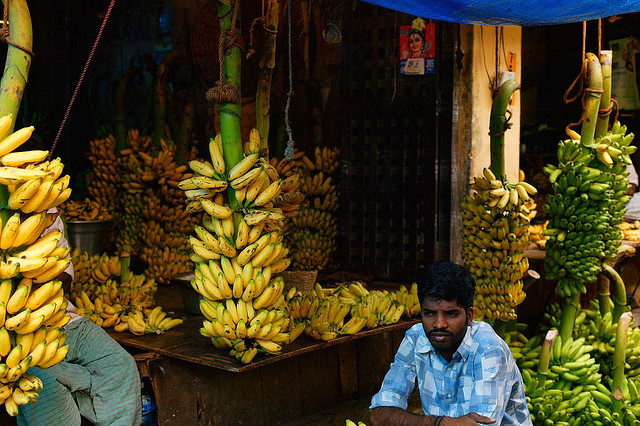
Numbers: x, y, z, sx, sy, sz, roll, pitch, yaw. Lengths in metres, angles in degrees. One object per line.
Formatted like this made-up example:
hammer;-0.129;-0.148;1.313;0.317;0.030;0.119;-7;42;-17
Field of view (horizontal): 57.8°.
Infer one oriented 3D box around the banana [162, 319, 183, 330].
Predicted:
banana;-1.338;1.012;5.282;0.050;0.076;0.212;22;19;39

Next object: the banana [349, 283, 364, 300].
banana;0.371;0.801;5.947;0.064;0.057;0.183;-12;51;-29

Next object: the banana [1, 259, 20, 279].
banana;-1.957;0.364;3.655;0.112;0.120;0.093;-2;5;-25

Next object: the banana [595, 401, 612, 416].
banana;2.591;1.770;5.301;0.042;0.158;0.059;-38;-24;-14

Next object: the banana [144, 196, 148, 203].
banana;-2.203;-0.172;7.310;0.042;0.058;0.025;6;3;36

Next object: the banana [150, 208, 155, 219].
banana;-2.109;0.012;7.279;0.047;0.104;0.032;1;2;3

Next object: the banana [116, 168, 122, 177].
banana;-2.656;-0.529;7.646;0.034;0.058;0.103;3;39;-39

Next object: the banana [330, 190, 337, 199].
banana;0.175;-0.225;7.562;0.032;0.209;0.055;11;-16;9

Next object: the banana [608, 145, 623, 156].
banana;2.538;-0.521;5.000;0.170;0.052;0.059;10;-10;-10

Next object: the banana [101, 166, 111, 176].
banana;-2.876;-0.572;7.780;0.061;0.049;0.220;-9;44;-43

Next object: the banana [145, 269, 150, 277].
banana;-2.125;0.739;7.122;0.031;0.113;0.033;-30;-4;11

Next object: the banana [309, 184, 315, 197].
banana;-0.102;-0.275;7.553;0.048;0.177;0.043;2;14;-20

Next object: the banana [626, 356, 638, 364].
banana;3.028;1.421;5.625;0.033;0.061;0.105;-24;3;-14

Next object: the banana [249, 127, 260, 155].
banana;-0.557;-0.602;4.906;0.085;0.224;0.372;0;5;-6

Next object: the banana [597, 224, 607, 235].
banana;2.451;0.146;5.027;0.110;0.086;0.036;-2;5;-28

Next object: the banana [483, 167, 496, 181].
banana;1.514;-0.328;5.199;0.069;0.138;0.045;-49;9;-26

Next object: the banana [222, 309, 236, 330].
banana;-0.728;0.837;4.568;0.052;0.207;0.066;-21;3;-3

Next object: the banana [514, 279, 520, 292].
banana;1.805;0.670;5.301;0.077;0.110;0.021;-3;6;-40

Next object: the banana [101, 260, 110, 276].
banana;-2.271;0.598;6.130;0.040;0.193;0.070;-4;-10;-10

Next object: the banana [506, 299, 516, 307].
banana;1.755;0.826;5.290;0.047;0.040;0.051;6;16;29

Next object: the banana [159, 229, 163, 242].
banana;-1.996;0.284;7.258;0.042;0.139;0.022;0;5;-2

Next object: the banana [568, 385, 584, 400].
banana;2.355;1.629;5.333;0.075;0.055;0.227;-25;4;46

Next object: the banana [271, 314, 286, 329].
banana;-0.334;0.894;4.754;0.168;0.039;0.057;-43;27;-27

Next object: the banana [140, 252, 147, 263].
banana;-2.213;0.563;7.249;0.057;0.053;0.185;-27;38;-14

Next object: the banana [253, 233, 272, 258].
banana;-0.453;0.240;4.664;0.066;0.236;0.075;42;-3;-14

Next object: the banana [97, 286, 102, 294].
banana;-2.144;0.749;5.623;0.058;0.066;0.019;-2;-7;22

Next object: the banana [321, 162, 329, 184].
banana;0.075;-0.515;7.648;0.089;0.298;0.058;12;-1;21

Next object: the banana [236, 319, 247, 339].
banana;-0.614;0.907;4.544;0.065;0.145;0.061;-4;12;-19

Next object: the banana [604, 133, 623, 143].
banana;2.616;-0.660;5.143;0.188;0.071;0.056;-1;5;-24

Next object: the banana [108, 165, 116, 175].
banana;-2.761;-0.558;7.711;0.062;0.132;0.043;-32;-9;-1

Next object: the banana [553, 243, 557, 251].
banana;2.118;0.309;5.222;0.016;0.071;0.046;-3;2;-42

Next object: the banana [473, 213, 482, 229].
banana;1.438;0.077;5.325;0.047;0.152;0.039;-8;7;6

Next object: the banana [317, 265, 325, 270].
banana;0.007;0.710;7.517;0.085;0.061;0.026;-1;5;-22

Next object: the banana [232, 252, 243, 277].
banana;-0.670;0.425;4.661;0.053;0.196;0.120;-18;-7;19

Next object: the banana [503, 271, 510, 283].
banana;1.686;0.579;5.247;0.043;0.092;0.054;-35;4;21

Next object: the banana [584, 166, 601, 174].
banana;2.349;-0.370;5.011;0.221;0.057;0.073;3;-17;-41

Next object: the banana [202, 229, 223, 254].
banana;-0.875;0.236;4.628;0.072;0.286;0.098;-28;-6;-3

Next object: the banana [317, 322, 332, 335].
banana;0.034;1.000;4.997;0.104;0.100;0.056;-1;5;-23

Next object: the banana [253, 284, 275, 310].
banana;-0.407;0.680;4.638;0.264;0.082;0.092;-29;23;25

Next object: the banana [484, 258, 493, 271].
banana;1.538;0.471;5.293;0.052;0.113;0.036;-10;16;16

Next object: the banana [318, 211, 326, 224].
banana;0.028;0.054;7.484;0.045;0.186;0.058;17;-6;0

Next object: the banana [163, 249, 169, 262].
banana;-1.913;0.536;7.156;0.038;0.152;0.045;-2;-3;0

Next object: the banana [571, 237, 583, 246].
banana;2.258;0.256;5.091;0.121;0.033;0.044;-41;-20;-9

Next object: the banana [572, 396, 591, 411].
banana;2.378;1.732;5.275;0.197;0.054;0.066;-42;0;-18

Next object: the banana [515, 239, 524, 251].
banana;1.798;0.292;5.212;0.056;0.080;0.020;5;22;-27

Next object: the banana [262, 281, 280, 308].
banana;-0.371;0.657;4.688;0.072;0.294;0.092;22;10;-20

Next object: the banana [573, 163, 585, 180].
banana;2.231;-0.359;4.995;0.087;0.124;0.029;1;5;5

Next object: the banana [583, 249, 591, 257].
banana;2.329;0.357;5.061;0.056;0.049;0.034;-7;-5;-19

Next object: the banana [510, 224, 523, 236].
banana;1.757;0.153;5.170;0.096;0.092;0.031;0;5;-8

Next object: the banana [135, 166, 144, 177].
banana;-2.319;-0.524;7.418;0.075;0.140;0.046;-27;-26;-21

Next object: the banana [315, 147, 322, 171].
banana;-0.025;-0.699;7.630;0.064;0.288;0.073;14;-26;-37

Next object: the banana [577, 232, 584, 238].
banana;2.287;0.201;5.083;0.032;0.049;0.012;8;2;31

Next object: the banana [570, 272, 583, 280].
banana;2.278;0.562;5.154;0.093;0.078;0.065;1;5;8

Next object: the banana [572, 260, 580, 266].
banana;2.257;0.445;5.108;0.057;0.050;0.024;2;5;23

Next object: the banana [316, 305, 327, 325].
banana;0.012;0.919;5.195;0.041;0.153;0.055;12;-35;3

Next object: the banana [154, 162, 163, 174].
banana;-2.062;-0.564;7.347;0.114;0.143;0.053;2;5;23
